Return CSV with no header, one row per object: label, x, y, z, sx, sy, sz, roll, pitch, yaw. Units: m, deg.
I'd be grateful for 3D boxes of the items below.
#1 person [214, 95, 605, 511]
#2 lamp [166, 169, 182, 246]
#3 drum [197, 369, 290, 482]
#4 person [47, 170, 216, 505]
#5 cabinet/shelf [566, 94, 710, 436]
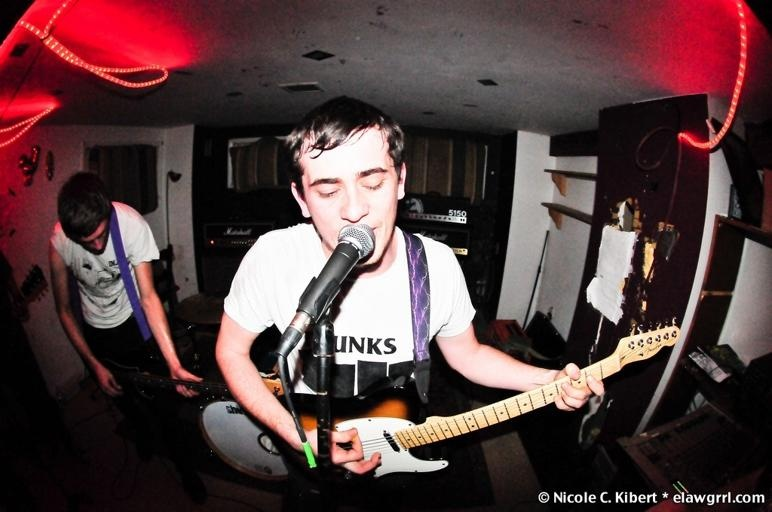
person,-0.114,0.137,2.542,1.374,1.746,0.530,-2,28,11
lamp,-0.852,-0.189,2.005,0.083,0.296,0.031,7,9,35
drum,-0.634,0.770,2.357,0.472,0.335,0.125,32,25,8
person,-1.087,0.373,2.131,0.582,1.425,0.185,-1,8,-20
cabinet/shelf,0.937,-0.067,1.855,0.419,1.037,0.134,3,8,4
